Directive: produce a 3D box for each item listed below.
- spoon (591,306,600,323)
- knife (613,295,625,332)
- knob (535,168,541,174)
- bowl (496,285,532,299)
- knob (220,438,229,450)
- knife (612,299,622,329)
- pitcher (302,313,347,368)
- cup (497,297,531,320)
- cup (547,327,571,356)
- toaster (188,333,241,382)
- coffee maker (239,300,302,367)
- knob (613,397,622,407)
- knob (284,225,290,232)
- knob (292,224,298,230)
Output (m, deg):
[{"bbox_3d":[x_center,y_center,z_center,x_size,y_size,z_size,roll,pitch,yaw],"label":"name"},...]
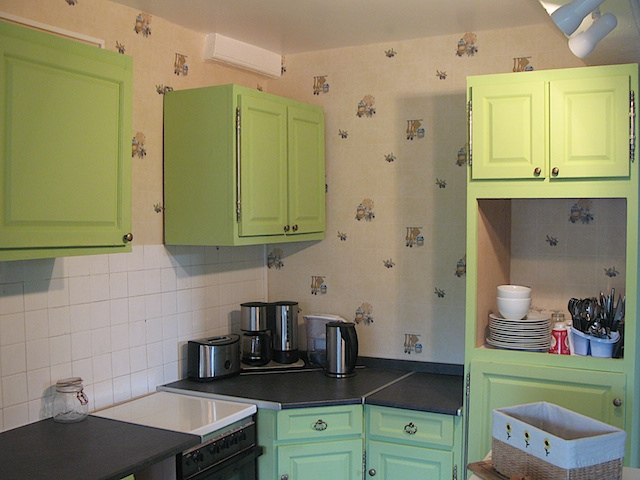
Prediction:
[{"bbox_3d":[1.392,0.369,2.764,0.028,0.063,0.073,3,5,29],"label":"spoon"},{"bbox_3d":[1.477,0.369,2.708,0.021,0.193,0.026,32,-15,-18],"label":"knife"},{"bbox_3d":[1.083,-0.348,2.729,0.022,0.022,0.023,0,-5,29],"label":"knob"},{"bbox_3d":[1.011,0.273,2.922,0.153,0.056,0.196,1,5,-3],"label":"bowl"},{"bbox_3d":[-0.491,1.044,2.805,0.043,0.061,0.043,-1,1,-5],"label":"knob"},{"bbox_3d":[1.466,0.367,2.703,0.025,0.203,0.009,-2,-37,50],"label":"knife"},{"bbox_3d":[-0.018,0.651,3.676,0.365,0.385,0.214,2,1,34],"label":"pitcher"},{"bbox_3d":[0.997,0.352,2.837,0.122,0.097,0.127,1,-6,0],"label":"cup"},{"bbox_3d":[1.228,0.519,2.819,0.116,0.169,0.123,3,-7,0],"label":"cup"},{"bbox_3d":[-0.641,0.737,3.421,0.349,0.245,0.170,-3,6,-42],"label":"toaster"},{"bbox_3d":[-0.336,0.621,3.666,0.381,0.411,0.196,0,4,-9],"label":"coffee maker"},{"bbox_3d":[1.412,0.773,2.602,0.039,0.044,0.018,2,4,14],"label":"knob"},{"bbox_3d":[-0.209,-0.079,3.448,0.024,0.030,0.030,3,-16,4],"label":"knob"},{"bbox_3d":[-0.158,-0.086,3.509,0.020,0.034,0.035,-7,-15,25],"label":"knob"}]
